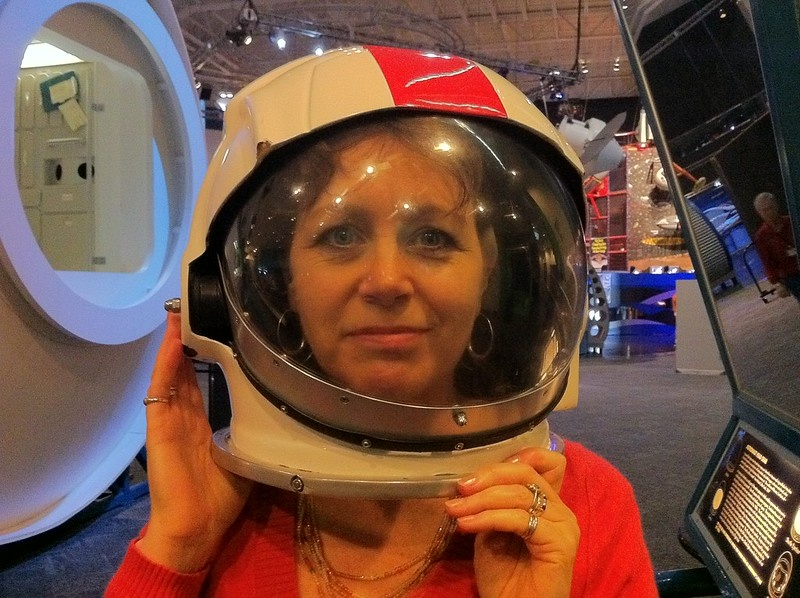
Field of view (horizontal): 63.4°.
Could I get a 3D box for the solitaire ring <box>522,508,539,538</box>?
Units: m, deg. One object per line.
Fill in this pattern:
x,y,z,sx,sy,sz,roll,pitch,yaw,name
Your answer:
0.184,0.318,0.909,0.023,0.044,0.016,2,8,9,solitaire ring

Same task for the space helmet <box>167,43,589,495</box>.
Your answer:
-0.049,-0.024,1.140,0.585,0.648,0.613,4,-13,-14,space helmet

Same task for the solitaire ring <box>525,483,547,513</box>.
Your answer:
0.193,0.282,0.911,0.027,0.039,0.015,24,-43,-39,solitaire ring
